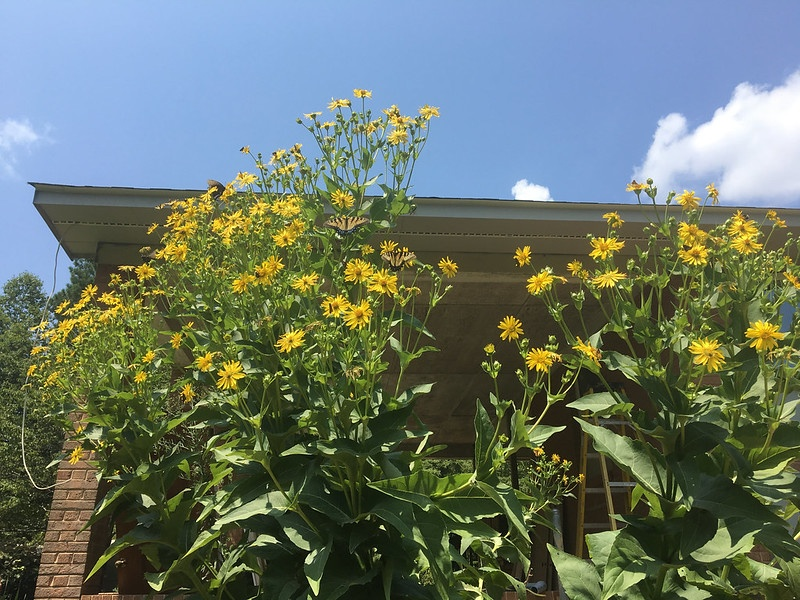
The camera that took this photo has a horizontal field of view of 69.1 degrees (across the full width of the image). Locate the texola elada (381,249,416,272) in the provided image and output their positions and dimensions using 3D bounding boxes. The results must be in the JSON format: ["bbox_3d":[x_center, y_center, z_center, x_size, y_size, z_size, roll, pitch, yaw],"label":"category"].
[{"bbox_3d":[0.020,-0.203,3.099,0.172,0.104,0.048,1,-23,24],"label":"texola elada"}]
